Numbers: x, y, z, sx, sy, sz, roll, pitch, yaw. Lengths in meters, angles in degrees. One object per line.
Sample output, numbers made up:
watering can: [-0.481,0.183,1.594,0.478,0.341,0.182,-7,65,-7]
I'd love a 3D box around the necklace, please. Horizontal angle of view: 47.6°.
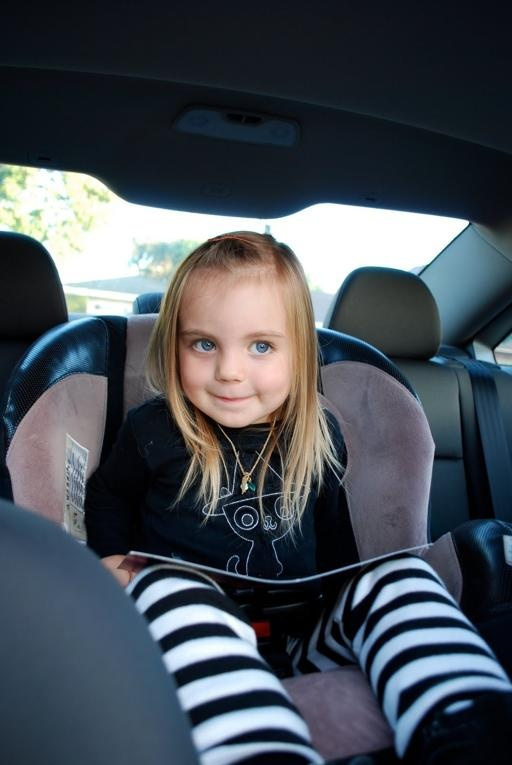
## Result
necklace: [-0.017,0.120,1.012,0.147,0.184,0.019,8,-25,-14]
